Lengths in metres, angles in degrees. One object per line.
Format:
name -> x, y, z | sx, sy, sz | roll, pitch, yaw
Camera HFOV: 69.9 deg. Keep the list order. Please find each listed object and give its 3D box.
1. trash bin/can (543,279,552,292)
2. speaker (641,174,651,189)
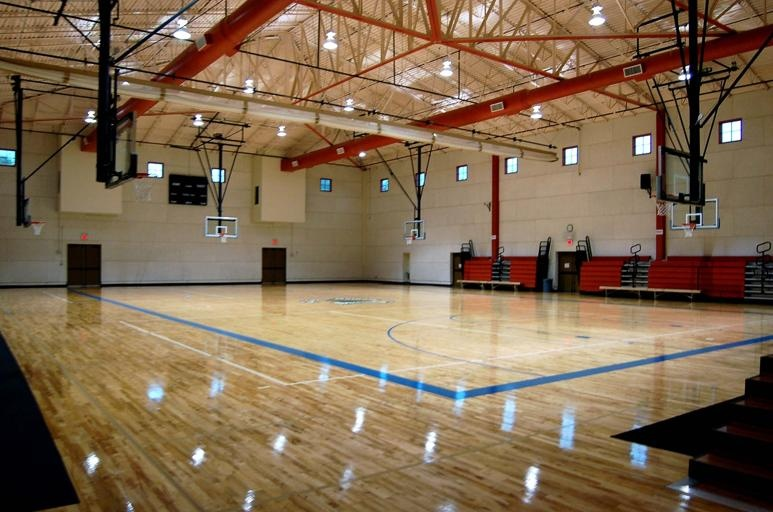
trash bin/can -> 6.643, 1.221, 22.694 | 0.469, 0.520, 0.470 | 0, -1, 10
speaker -> 9.504, -2.747, 20.256 | 0.351, 0.588, 0.311 | 2, 5, 17
